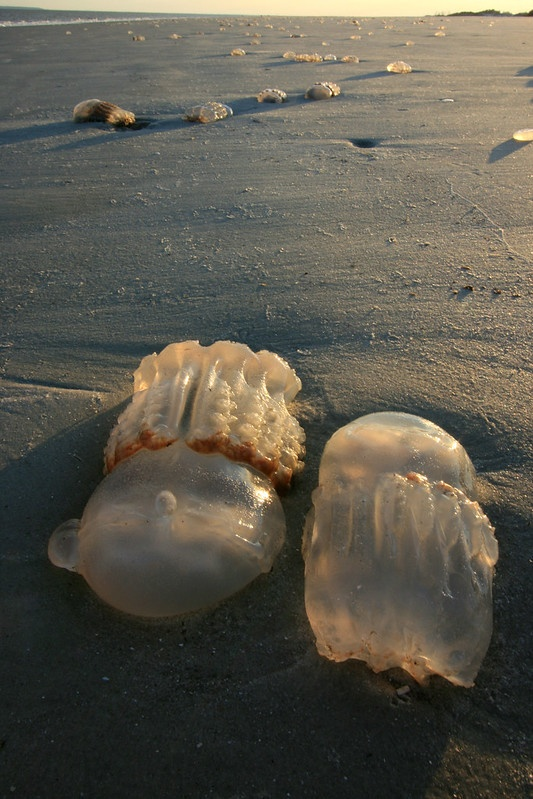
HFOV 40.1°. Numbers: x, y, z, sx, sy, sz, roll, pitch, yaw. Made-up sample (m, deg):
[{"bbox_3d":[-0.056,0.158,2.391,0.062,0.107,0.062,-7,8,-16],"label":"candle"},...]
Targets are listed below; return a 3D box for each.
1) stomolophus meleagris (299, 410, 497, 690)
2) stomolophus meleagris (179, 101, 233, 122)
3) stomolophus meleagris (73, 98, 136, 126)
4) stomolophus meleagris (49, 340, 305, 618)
[{"bbox_3d":[0.323,0.299,1.751,0.411,0.209,0.606,0,55,7],"label":"stomolophus meleagris"},{"bbox_3d":[-0.478,-2.460,6.264,0.303,0.119,0.514,17,33,29],"label":"stomolophus meleagris"},{"bbox_3d":[-1.371,-2.376,6.089,0.388,0.164,0.287,5,14,-6],"label":"stomolophus meleagris"},{"bbox_3d":[-0.230,0.188,2.004,0.613,0.277,0.910,2,40,5],"label":"stomolophus meleagris"}]
